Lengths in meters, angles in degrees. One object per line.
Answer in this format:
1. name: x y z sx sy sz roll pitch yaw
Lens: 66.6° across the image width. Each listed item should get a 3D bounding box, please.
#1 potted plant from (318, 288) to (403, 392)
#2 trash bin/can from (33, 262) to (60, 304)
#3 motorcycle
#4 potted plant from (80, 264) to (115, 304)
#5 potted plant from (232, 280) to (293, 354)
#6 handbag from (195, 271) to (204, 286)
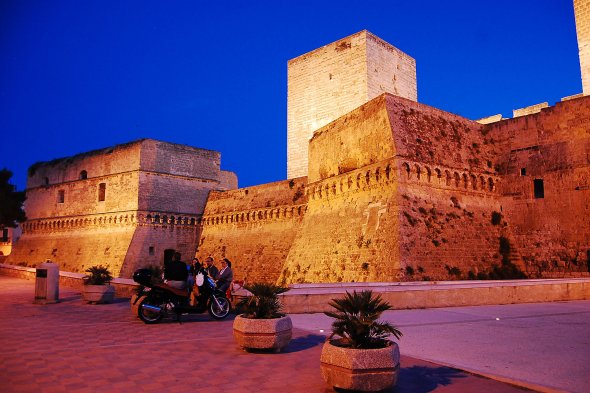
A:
1. potted plant: 1.220 2.452 8.083 1.546 1.526 1.565 0 -3 12
2. trash bin/can: -8.108 2.748 14.633 0.777 1.163 0.510 5 -13 -10
3. motorcycle: -2.953 2.487 12.346 2.737 1.641 1.371 0 -6 -30
4. potted plant: -6.471 2.886 14.766 1.016 1.215 0.660 5 -13 -12
5. potted plant: -0.672 2.519 9.578 1.228 1.303 1.330 1 -6 -4
6. handbag: -2.476 2.161 11.761 0.253 0.342 0.086 1 3 14
